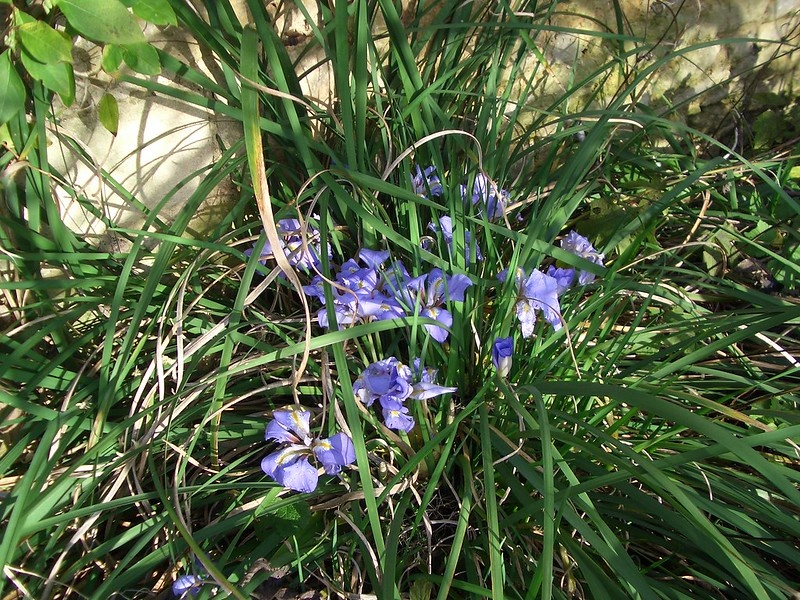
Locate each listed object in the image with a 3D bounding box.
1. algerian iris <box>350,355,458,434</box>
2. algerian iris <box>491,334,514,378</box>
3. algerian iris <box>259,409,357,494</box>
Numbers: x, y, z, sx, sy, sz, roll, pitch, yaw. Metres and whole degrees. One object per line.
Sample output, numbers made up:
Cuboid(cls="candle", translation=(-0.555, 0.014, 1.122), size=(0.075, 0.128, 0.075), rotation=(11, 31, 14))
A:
Cuboid(cls="algerian iris", translation=(0.016, 0.271, 1.826), size=(0.278, 0.188, 0.230), rotation=(-8, 62, 9))
Cuboid(cls="algerian iris", translation=(0.314, 0.183, 1.870), size=(0.067, 0.158, 0.066), rotation=(-6, 25, -13))
Cuboid(cls="algerian iris", translation=(-0.299, 0.466, 1.815), size=(0.286, 0.111, 0.243), rotation=(5, 6, -9))
